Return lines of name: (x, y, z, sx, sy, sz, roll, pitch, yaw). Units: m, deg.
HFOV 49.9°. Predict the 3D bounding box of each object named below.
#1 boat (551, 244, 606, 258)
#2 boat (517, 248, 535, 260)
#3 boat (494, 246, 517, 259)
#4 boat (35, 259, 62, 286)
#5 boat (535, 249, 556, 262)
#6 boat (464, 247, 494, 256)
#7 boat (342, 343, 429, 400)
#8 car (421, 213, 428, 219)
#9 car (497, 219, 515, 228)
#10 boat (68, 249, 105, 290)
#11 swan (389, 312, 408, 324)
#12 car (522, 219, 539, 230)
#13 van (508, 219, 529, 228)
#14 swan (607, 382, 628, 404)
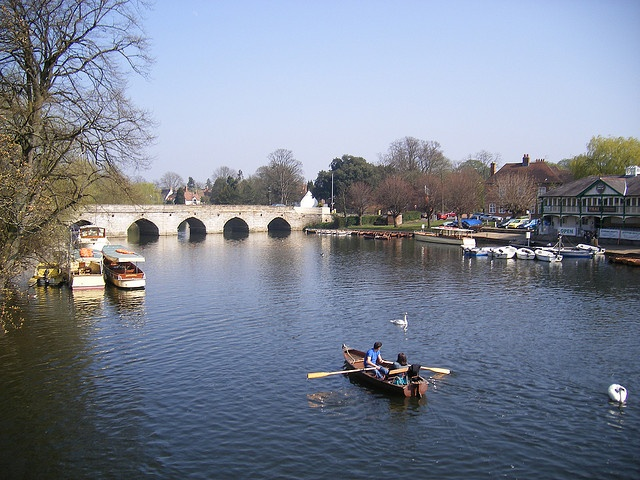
boat: (31.814, 1.748, 84.082, 6.197, 1.631, 2.303, -1, 4, 9)
boat: (25.183, 1.856, 84.594, 1.101, 1.052, 2.550, -3, 8, -22)
boat: (23.140, 1.648, 86.413, 3.093, 1.396, 1.970, 4, 8, 32)
boat: (-25.492, 3.200, 64.541, 2.558, 1.984, 2.036, -3, 8, -24)
boat: (26.918, 1.832, 82.633, 1.160, 0.827, 1.959, -6, 7, -12)
boat: (20.407, 1.499, 89.579, 3.785, 1.076, 2.490, 5, 9, 36)
boat: (3.423, 7.985, 40.606, 1.895, 1.324, 5.906, -8, 15, -33)
car: (23.696, -5.514, 157.049, 2.171, 1.021, 2.905, 0, -1, 0)
car: (33.432, -2.911, 125.062, 2.080, 0.898, 3.140, 3, 12, 34)
boat: (-21.294, 2.555, 62.827, 2.949, 3.395, 5.482, -3, 8, -20)
swan: (5.788, 5.693, 50.158, 1.190, 0.834, 2.028, 1, 7, 7)
car: (35.576, -2.499, 115.845, 2.831, 1.535, 1.782, 0, 2, 1)
van: (34.096, -2.828, 119.040, 2.871, 1.620, 2.125, -1, 2, -12)
swan: (16.619, 8.634, 38.538, 0.783, 0.871, 1.058, 2, 39, -7)
